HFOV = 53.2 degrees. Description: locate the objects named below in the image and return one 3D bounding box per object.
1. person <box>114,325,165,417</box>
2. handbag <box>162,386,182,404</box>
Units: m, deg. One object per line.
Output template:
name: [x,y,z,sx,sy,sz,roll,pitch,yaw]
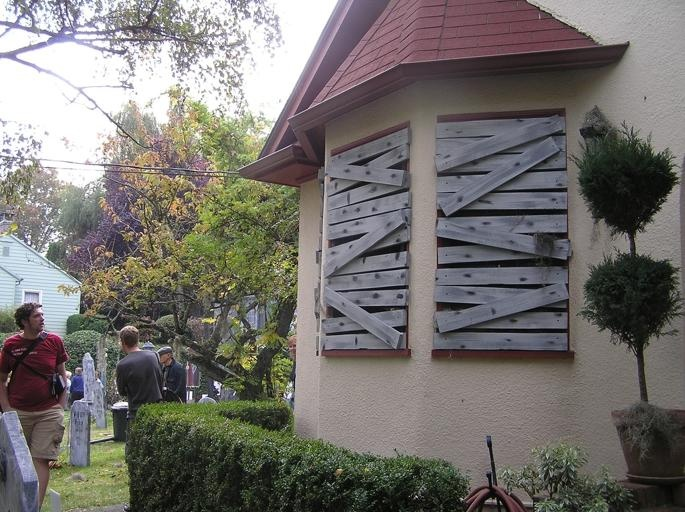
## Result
person: [-3.077,1.742,10.334,0.774,1.351,0.655,8,-14,-33]
handbag: [-3.043,2.441,12.143,0.254,0.262,1.144,3,-13,-11]
